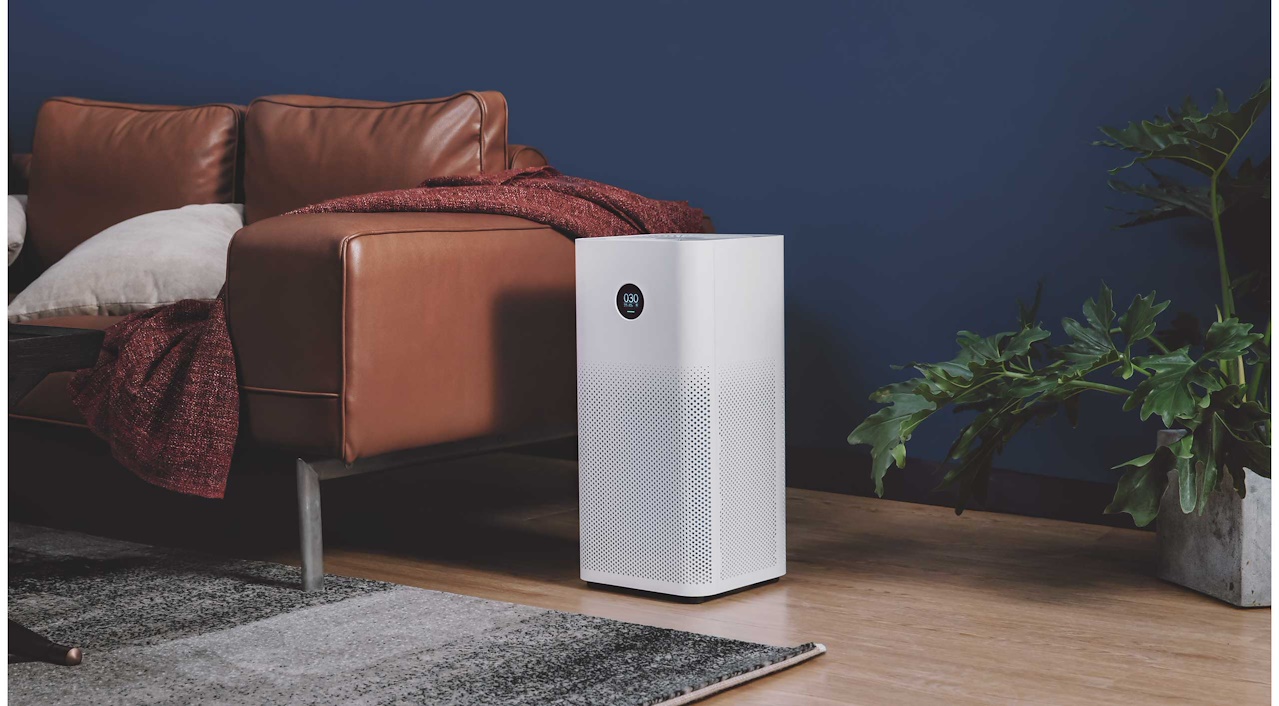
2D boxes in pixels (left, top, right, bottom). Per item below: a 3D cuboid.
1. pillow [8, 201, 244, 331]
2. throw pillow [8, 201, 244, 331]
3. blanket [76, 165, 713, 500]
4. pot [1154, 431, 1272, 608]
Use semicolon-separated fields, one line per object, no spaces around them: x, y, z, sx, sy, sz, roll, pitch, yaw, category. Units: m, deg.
-1.425;-0.227;2.703;0.521;0.151;0.434;-17;2;-7;pillow
-1.400;-0.230;2.701;0.521;0.151;0.434;-17;2;-7;throw pillow
-0.696;-0.045;2.538;1.144;0.430;1.059;1;9;35;blanket
1.309;0.401;2.216;0.249;0.296;0.124;9;17;33;pot
